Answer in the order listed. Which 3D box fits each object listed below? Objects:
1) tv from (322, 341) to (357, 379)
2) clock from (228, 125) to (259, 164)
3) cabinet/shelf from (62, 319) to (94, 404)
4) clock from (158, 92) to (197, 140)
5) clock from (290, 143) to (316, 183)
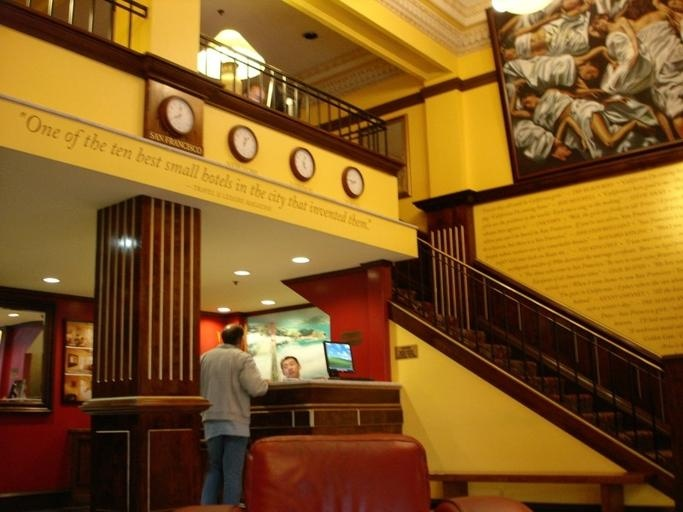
[{"bbox_3d":[-0.005,1.393,7.797,0.192,0.453,0.603,-17,-24,29],"label":"tv"},{"bbox_3d":[-1.115,-1.206,6.486,0.059,0.346,0.354,-6,-32,33],"label":"clock"},{"bbox_3d":[-4.154,1.671,9.140,0.113,1.273,0.463,-11,-13,38],"label":"cabinet/shelf"},{"bbox_3d":[-1.686,-1.372,5.894,0.075,0.454,0.392,-14,14,37],"label":"clock"},{"bbox_3d":[-0.494,-1.092,7.117,0.102,0.446,0.438,-15,-17,32],"label":"clock"}]
